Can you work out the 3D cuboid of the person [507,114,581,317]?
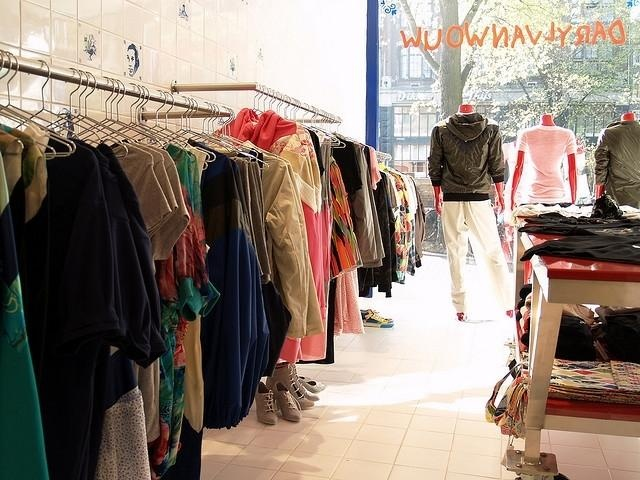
[{"bbox_3d":[2.241,-0.335,4.930,0.563,2.030,0.322,6,-14,33],"label":"person"}]

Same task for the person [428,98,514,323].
[{"bbox_3d":[1.557,-0.286,5.011,0.862,2.198,0.514,1,6,21],"label":"person"}]
